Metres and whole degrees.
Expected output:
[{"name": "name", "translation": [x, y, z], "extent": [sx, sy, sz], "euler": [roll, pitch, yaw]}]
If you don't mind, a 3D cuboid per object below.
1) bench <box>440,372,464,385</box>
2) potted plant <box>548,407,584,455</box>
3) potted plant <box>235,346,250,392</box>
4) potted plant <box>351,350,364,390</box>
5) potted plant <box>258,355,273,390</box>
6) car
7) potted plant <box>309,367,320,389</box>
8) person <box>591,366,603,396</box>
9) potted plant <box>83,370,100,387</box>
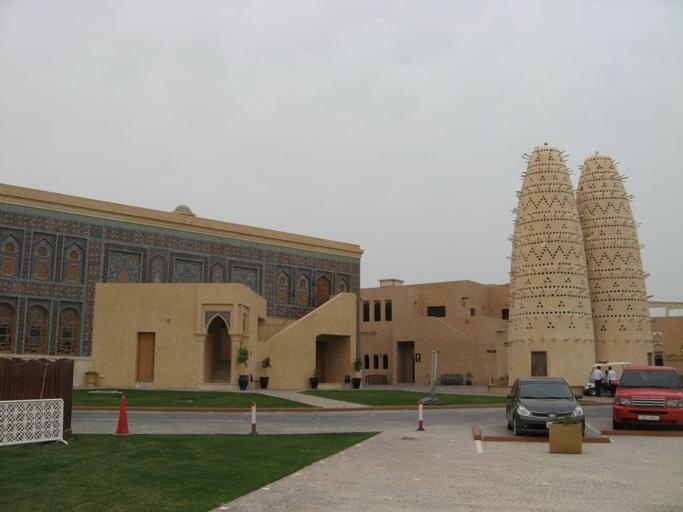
[{"name": "bench", "translation": [10.191, 11.248, 59.577], "extent": [2.185, 0.919, 0.971], "euler": [-2, -10, 9]}, {"name": "potted plant", "translation": [5.166, 4.128, 15.033], "extent": [0.738, 0.798, 0.599], "euler": [-3, -10, 13]}, {"name": "potted plant", "translation": [-5.732, 6.489, 38.036], "extent": [0.753, 2.535, 1.745], "euler": [1, -10, -8]}, {"name": "potted plant", "translation": [1.038, 8.229, 46.328], "extent": [0.677, 2.266, 1.925], "euler": [0, -10, -3]}, {"name": "potted plant", "translation": [-4.757, 7.249, 40.867], "extent": [0.717, 1.949, 1.325], "euler": [1, -10, -5]}, {"name": "car", "translation": [5.649, 4.271, 18.613], "extent": [1.311, 1.065, 2.446], "euler": [-2, -19, 4]}, {"name": "potted plant", "translation": [-1.804, 8.080, 43.033], "extent": [0.557, 1.173, 0.769], "euler": [1, -10, -10]}, {"name": "person", "translation": [15.806, 7.745, 40.086], "extent": [0.675, 1.616, 1.073], "euler": [-4, -11, 20]}, {"name": "potted plant", "translation": [-14.177, 6.875, 36.801], "extent": [0.835, 0.782, 0.382], "euler": [-2, -10, 10]}]
